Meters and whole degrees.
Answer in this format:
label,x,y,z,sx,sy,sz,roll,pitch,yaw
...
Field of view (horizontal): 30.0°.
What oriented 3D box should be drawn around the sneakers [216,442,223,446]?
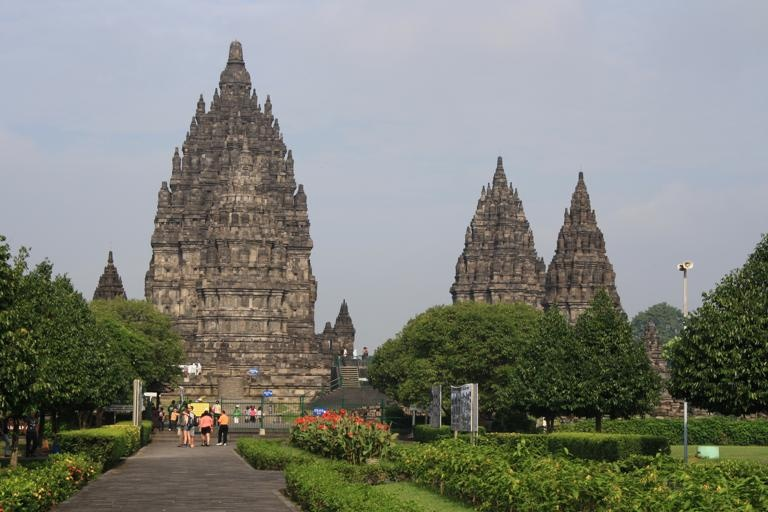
label,x,y,z,sx,sy,sz,roll,pitch,yaw
sneakers,-8.930,10.204,77.488,0.274,0.078,0.140,3,-2,34
